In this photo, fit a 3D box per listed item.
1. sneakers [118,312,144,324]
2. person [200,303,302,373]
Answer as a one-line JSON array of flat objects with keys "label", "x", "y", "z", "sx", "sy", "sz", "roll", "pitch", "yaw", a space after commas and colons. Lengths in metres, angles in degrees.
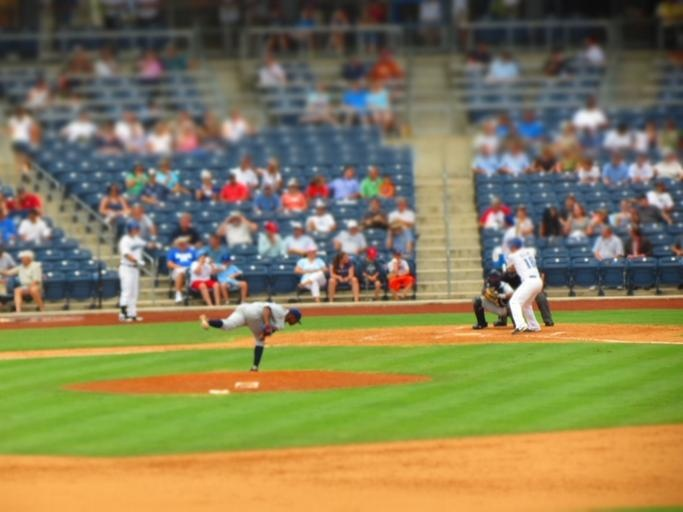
[{"label": "sneakers", "x": -4.104, "y": 1.199, "z": 29.182, "sx": 0.515, "sy": 0.211, "sz": 0.172, "roll": 0, "pitch": 3, "yaw": 24}, {"label": "person", "x": -1.438, "y": 1.284, "z": 23.683, "sx": 1.596, "sy": 1.046, "sz": 0.622, "roll": 4, "pitch": -20, "yaw": -5}]
